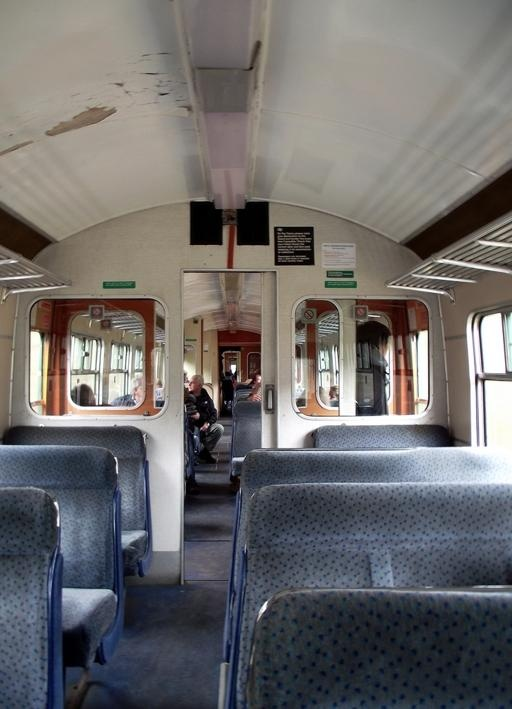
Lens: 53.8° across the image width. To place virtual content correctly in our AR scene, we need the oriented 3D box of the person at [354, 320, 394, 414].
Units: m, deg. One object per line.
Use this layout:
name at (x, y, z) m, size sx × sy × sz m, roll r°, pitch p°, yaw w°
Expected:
person at (1.096, 0.119, 4.840) m, size 0.322 × 0.916 × 0.090 m, roll -5°, pitch -9°, yaw 35°
